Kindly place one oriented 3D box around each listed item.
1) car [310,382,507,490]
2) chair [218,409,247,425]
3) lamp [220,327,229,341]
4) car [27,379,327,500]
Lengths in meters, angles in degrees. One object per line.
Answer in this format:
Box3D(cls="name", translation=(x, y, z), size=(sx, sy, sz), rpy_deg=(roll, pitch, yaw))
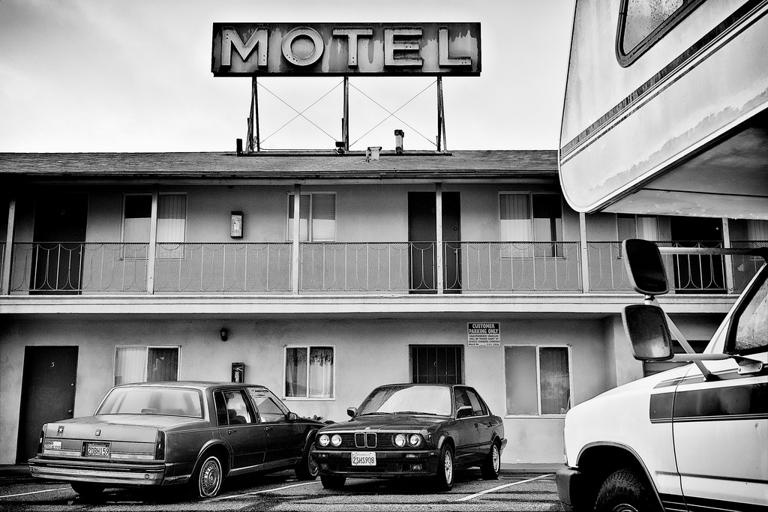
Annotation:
Box3D(cls="car", translation=(0.543, 3.176, 14.123), size=(2.054, 1.985, 3.583), rpy_deg=(-15, -22, 41))
Box3D(cls="chair", translation=(-2.566, 2.712, 13.159), size=(0.271, 0.273, 0.294), rpy_deg=(1, -6, -3))
Box3D(cls="lamp", translation=(-3.926, 1.909, 19.342), size=(0.203, 0.334, 0.252), rpy_deg=(2, -16, -8))
Box3D(cls="car", translation=(-3.267, 2.991, 13.043), size=(1.720, 1.943, 4.333), rpy_deg=(-14, -21, 39))
